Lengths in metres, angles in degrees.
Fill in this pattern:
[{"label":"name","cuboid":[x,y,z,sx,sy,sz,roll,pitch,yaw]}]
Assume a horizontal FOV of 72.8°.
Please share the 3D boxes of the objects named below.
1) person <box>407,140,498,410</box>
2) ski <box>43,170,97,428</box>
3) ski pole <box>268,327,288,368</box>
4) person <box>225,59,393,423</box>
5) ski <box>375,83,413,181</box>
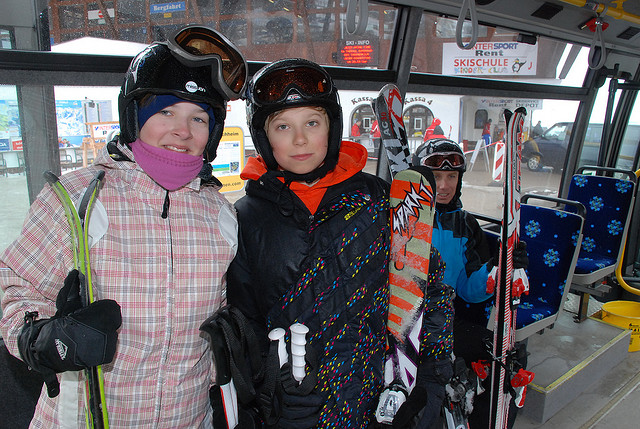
[{"label":"person","cuboid":[0.848,0.272,2.783,0.618,1.817,0.443,3,-3,-10]},{"label":"ski","cuboid":[-1.018,0.362,1.770,0.083,1.092,0.168,-6,-5,0]},{"label":"ski pole","cuboid":[-0.176,0.608,1.996,0.091,0.168,0.093,10,18,32]},{"label":"person","cuboid":[-0.032,0.144,2.077,0.845,1.717,0.614,-4,16,-12]},{"label":"ski","cuboid":[0.584,-0.647,3.446,0.236,0.864,0.131,-9,3,-9]}]
